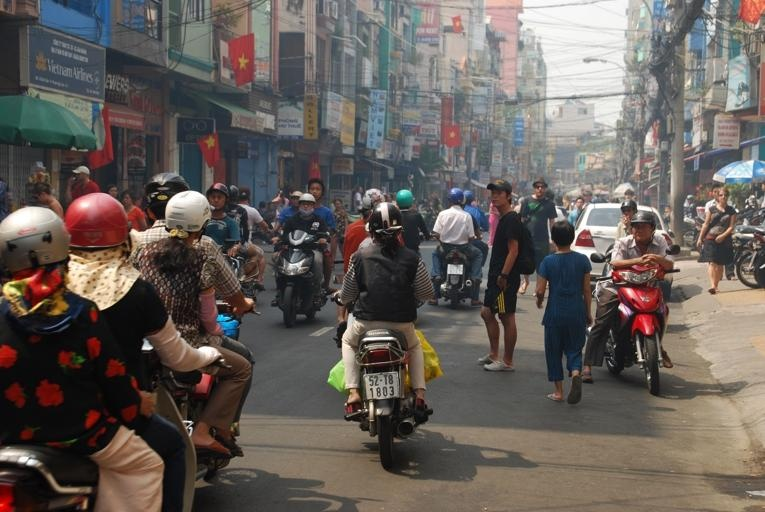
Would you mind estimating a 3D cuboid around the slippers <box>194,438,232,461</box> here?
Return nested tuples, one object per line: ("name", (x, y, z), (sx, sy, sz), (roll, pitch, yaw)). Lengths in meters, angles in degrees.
("slippers", (-1.299, 1.462, 6.913), (0.352, 0.140, 0.114), (10, 30, -24))

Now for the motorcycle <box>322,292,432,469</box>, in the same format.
("motorcycle", (-0.032, 1.141, 7.690), (0.675, 0.804, 1.320), (-1, 3, 3))

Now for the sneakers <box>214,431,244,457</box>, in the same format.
("sneakers", (-1.200, 1.478, 7.062), (0.104, 0.264, 0.134), (-42, 17, 4))

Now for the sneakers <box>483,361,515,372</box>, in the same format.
("sneakers", (1.369, 1.306, 10.695), (0.335, 0.137, 0.127), (5, 6, -3))

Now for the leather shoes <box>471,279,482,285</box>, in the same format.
("leather shoes", (1.590, 0.416, 15.355), (0.214, 0.115, 0.144), (-3, 3, -1))

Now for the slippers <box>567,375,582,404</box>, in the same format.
("slippers", (1.956, 1.352, 9.213), (0.131, 0.310, 0.134), (4, 6, 7))

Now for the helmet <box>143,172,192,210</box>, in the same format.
("helmet", (-1.833, -0.575, 7.593), (0.288, 0.290, 0.353), (3, 19, 18))

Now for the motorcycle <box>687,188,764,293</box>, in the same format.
("motorcycle", (6.470, -0.390, 17.169), (0.909, 1.233, 2.027), (3, 17, 18))

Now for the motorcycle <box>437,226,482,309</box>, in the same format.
("motorcycle", (1.247, 0.286, 15.047), (0.565, 0.752, 1.305), (1, 4, 9))

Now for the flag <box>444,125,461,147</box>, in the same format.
("flag", (4.972, -8.767, 65.755), (1.064, 1.305, 0.774), (-1, 8, -12))

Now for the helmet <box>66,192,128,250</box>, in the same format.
("helmet", (-1.818, -0.257, 5.787), (0.328, 0.296, 0.374), (1, 19, -2))

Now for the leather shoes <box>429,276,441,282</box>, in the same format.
("leather shoes", (0.894, 0.377, 15.325), (0.100, 0.101, 0.163), (0, -5, -1))

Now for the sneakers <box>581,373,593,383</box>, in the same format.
("sneakers", (2.348, 1.394, 10.370), (0.075, 0.152, 0.226), (0, -4, 3))

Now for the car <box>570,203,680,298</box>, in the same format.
("car", (4.337, -0.115, 17.042), (1.618, 1.274, 2.783), (0, 7, 8))

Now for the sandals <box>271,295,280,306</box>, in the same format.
("sandals", (-1.639, 0.683, 13.646), (0.064, 0.194, 0.139), (16, 14, -10))

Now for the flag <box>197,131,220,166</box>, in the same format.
("flag", (-5.167, -3.147, 26.369), (0.101, 1.036, 0.981), (8, 31, 25))

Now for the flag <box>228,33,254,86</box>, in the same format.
("flag", (-4.419, -6.019, 27.787), (0.120, 1.539, 1.425), (8, 27, 28))

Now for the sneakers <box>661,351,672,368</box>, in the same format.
("sneakers", (3.275, 1.167, 10.394), (0.105, 0.132, 0.335), (-3, 15, 7))

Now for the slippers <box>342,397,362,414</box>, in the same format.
("slippers", (-0.283, 1.305, 7.929), (0.131, 0.097, 0.135), (-3, -2, 32))
